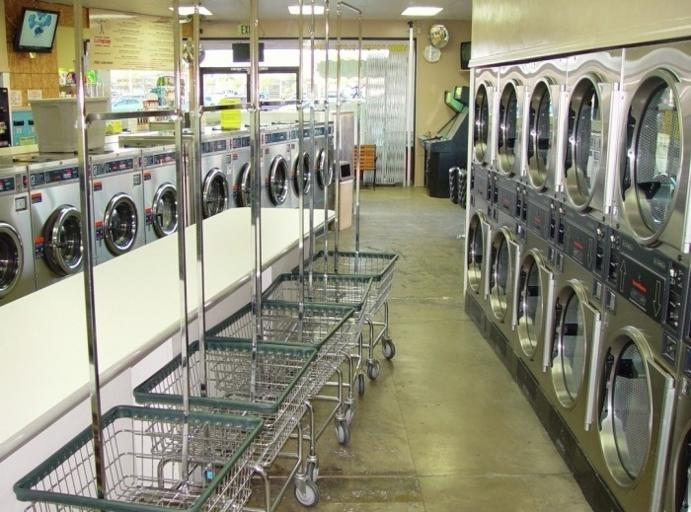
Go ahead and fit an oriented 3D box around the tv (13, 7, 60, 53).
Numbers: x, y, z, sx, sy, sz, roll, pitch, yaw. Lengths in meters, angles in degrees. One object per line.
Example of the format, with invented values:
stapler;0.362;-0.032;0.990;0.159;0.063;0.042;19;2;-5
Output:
tv;-5.372;-3.989;9.125;0.307;0.739;0.829;4;14;14

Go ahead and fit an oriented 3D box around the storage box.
storage box;-3.001;-1.431;5.786;0.547;0.560;0.735;5;11;14
